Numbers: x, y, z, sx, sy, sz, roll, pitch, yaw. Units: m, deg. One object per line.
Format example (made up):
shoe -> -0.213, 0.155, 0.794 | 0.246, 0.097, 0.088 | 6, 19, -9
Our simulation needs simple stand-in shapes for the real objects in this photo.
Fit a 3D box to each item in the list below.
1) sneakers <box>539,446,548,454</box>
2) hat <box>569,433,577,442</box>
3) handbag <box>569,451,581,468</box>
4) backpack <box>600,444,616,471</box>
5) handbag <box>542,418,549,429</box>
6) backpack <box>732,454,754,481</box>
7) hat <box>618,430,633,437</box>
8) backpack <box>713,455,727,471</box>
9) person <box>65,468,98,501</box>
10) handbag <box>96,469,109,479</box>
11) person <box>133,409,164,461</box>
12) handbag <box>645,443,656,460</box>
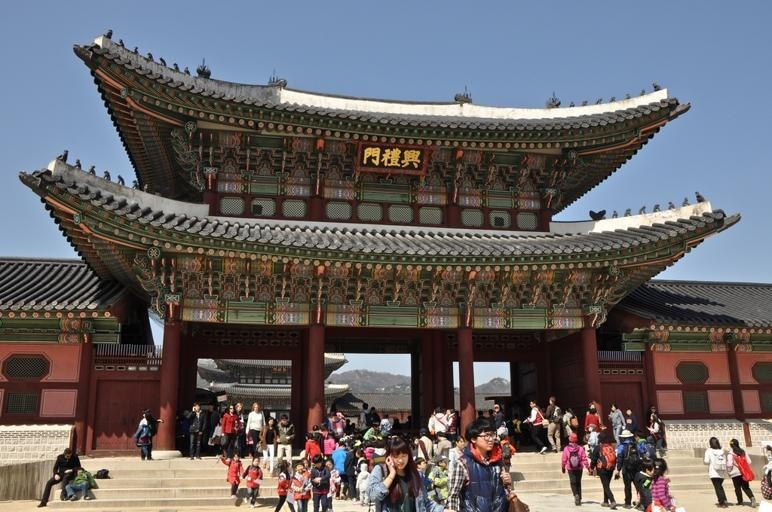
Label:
sneakers -> 6.006, 7.451, 29.104 | 0.219, 0.216, 0.486 | -6, -6, 4
hat -> 5.829, 5.700, 23.799 | 0.217, 0.306, 0.713 | -3, -21, 12
handbag -> 5.801, 6.311, 23.436 | 0.344, 0.427, 0.271 | -3, -21, 10
backpack -> 7.009, 6.369, 24.085 | 0.417, 0.807, 0.889 | -7, -22, 21
handbag -> 6.258, 6.550, 29.915 | 0.234, 0.315, 0.331 | -1, -22, 6
backpack -> 11.143, 6.768, 24.137 | 0.725, 0.906, 0.244 | -7, -10, -29
hat -> 8.007, 5.941, 25.432 | 0.410, 0.285, 0.803 | -4, -21, 15
backpack -> 10.458, 6.538, 23.969 | 0.416, 0.546, 0.281 | 10, -11, -20
person -> -9.888, 7.342, 24.634 | 0.852, 1.151, 0.778 | 0, -30, -23
handbag -> -9.409, 7.273, 25.311 | 0.281, 0.358, 0.165 | 1, -4, -28
person -> -8.498, 6.420, 27.202 | 0.765, 1.862, 1.341 | 6, -21, -12
handbag -> 8.589, 6.322, 24.815 | 0.262, 0.580, 1.468 | -6, -22, 18
